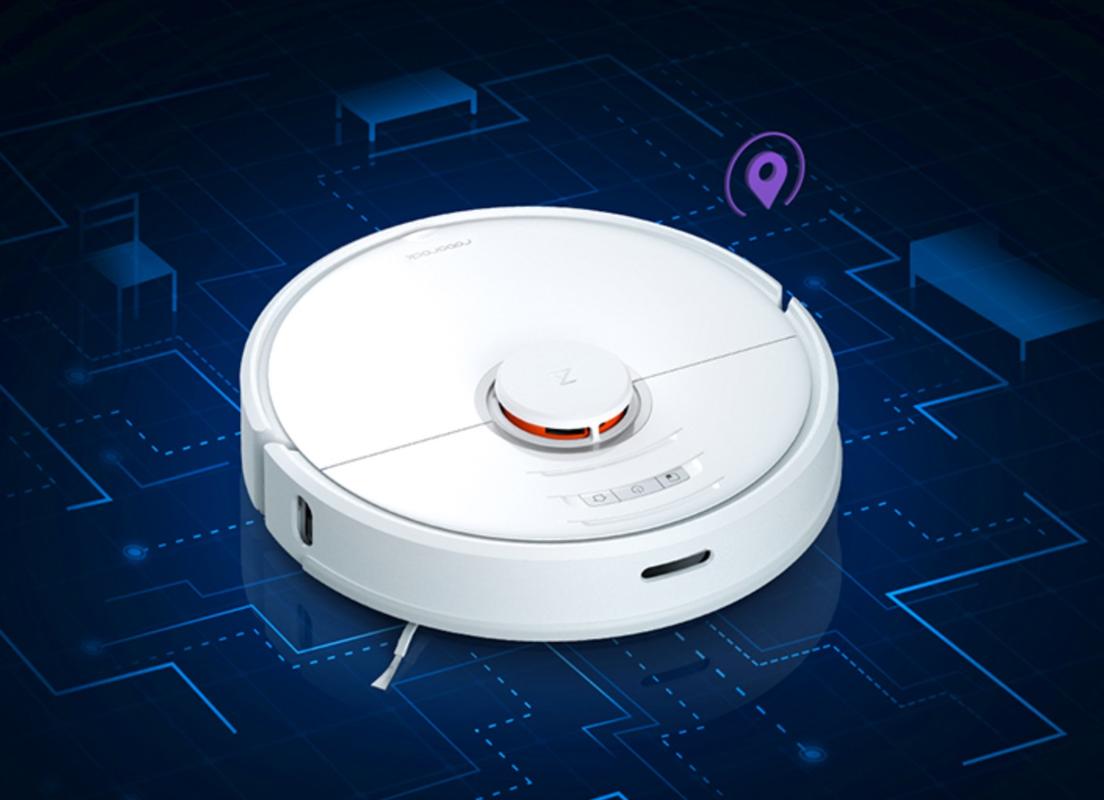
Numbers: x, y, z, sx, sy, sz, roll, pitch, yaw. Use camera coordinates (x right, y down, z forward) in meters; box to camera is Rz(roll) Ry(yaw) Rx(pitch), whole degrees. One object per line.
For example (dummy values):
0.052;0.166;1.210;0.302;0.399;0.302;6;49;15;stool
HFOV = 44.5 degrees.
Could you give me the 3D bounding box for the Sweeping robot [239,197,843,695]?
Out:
-0.036;0.067;2.882;1.080;0.950;0.282;2;-52;1;Sweeping robot
